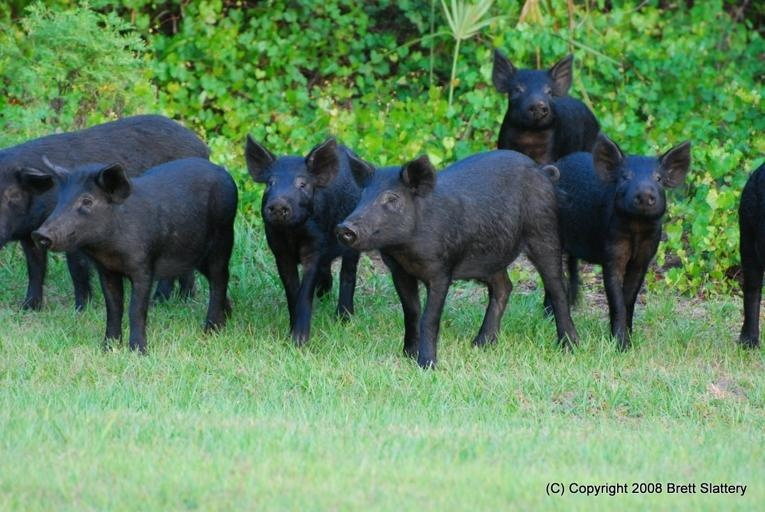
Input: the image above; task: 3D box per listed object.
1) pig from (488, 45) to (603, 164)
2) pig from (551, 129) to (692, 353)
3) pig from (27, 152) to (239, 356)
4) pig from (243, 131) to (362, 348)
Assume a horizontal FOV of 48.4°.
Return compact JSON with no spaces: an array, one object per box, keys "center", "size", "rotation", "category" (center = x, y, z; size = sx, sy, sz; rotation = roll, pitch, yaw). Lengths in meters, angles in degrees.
[{"center":[1.638,-1.348,8.906],"size":[0.769,1.239,2.187],"rotation":[10,7,22],"category":"pig"},{"center":[2.146,-0.134,7.925],"size":[0.972,1.740,2.631],"rotation":[1,0,-2],"category":"pig"},{"center":[-2.152,-0.022,7.461],"size":[0.981,1.613,2.105],"rotation":[6,10,31],"category":"pig"},{"center":[-0.654,-0.206,8.064],"size":[0.892,1.774,2.553],"rotation":[6,7,11],"category":"pig"}]
